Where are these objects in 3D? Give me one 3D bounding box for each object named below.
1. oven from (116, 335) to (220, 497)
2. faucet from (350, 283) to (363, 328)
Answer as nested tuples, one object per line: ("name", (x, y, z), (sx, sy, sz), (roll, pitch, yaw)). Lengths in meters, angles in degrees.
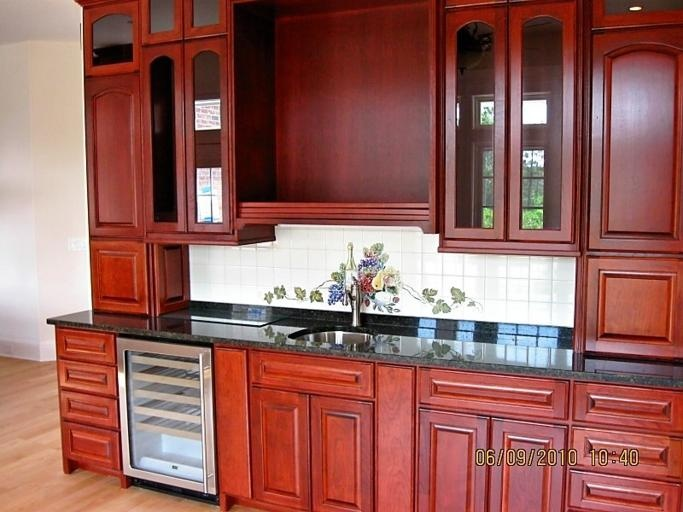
("oven", (-0.947, 0.940, 3.804), (0.730, 0.959, 0.687), (3, 9, 26))
("faucet", (0.087, 0.287, 3.553), (0.065, 0.286, 0.084), (1, 4, 8))
